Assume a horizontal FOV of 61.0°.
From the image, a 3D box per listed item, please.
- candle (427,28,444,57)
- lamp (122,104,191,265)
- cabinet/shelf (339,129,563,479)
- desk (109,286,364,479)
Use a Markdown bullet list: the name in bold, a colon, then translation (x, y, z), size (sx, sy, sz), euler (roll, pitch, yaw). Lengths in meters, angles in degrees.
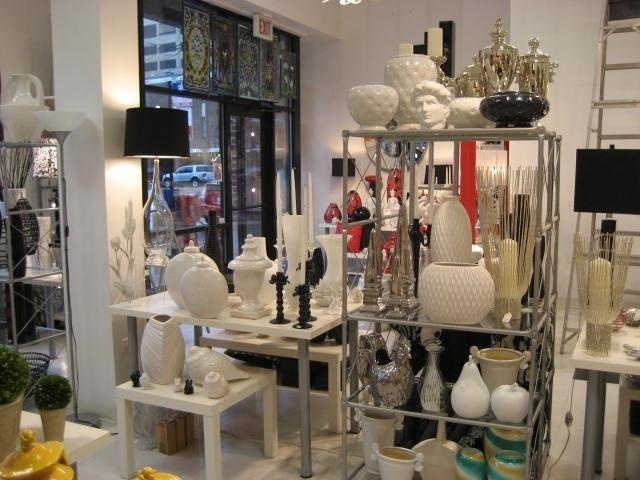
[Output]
- **candle**: translation (0.576, -1.016, 2.817), size (0.103, 0.154, 0.090), euler (5, 8, 44)
- **lamp**: translation (-1.180, -0.427, 3.950), size (0.407, 1.056, 0.406), euler (-5, 14, -33)
- **cabinet/shelf**: translation (0.795, 0.328, 3.296), size (1.317, 1.928, 2.032), euler (0, 6, 2)
- **desk**: translation (-0.563, 0.736, 3.270), size (1.097, 0.806, 1.184), euler (1, 3, 23)
